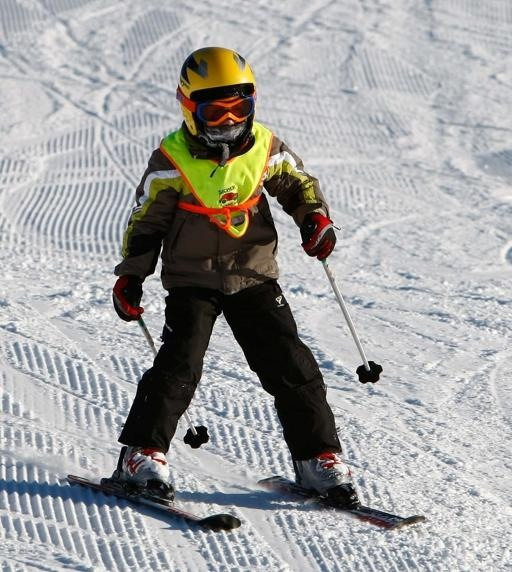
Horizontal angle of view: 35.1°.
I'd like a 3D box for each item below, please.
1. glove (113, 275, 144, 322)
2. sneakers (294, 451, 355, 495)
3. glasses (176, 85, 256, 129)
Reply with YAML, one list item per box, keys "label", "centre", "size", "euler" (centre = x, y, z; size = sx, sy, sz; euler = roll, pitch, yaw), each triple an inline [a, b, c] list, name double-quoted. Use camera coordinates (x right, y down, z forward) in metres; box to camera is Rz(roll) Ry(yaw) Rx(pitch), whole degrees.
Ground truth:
- label: "glove"
  centre: [-0.518, 0.047, 3.328]
  size: [0.176, 0.164, 0.161]
  euler: [6, 13, -6]
- label: "sneakers"
  centre: [0.294, 0.781, 3.446]
  size: [0.180, 0.142, 0.277]
  euler: [8, -14, -31]
- label: "glasses"
  centre: [-0.179, -0.750, 3.306]
  size: [0.337, 0.170, 0.209]
  euler: [8, 31, 2]
